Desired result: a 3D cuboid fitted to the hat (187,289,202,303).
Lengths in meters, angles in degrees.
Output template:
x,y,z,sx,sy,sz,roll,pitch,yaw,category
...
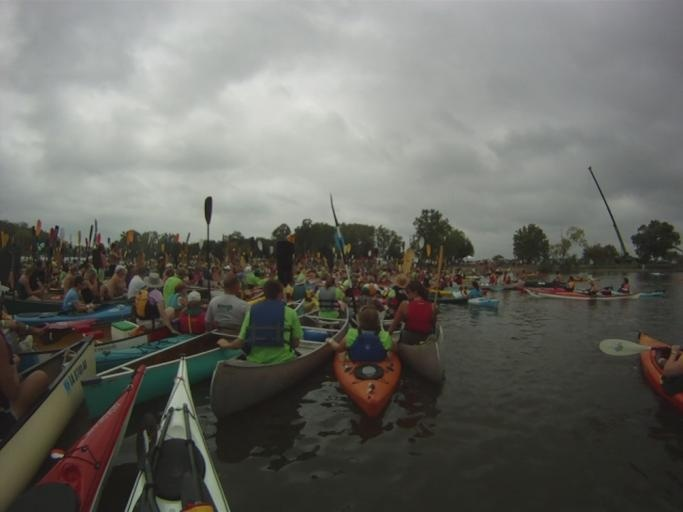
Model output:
x,y,z,sx,sy,sz,roll,pitch,yaw,category
-3.092,0.833,9.328,0.218,0.273,0.323,1,3,-5,hat
